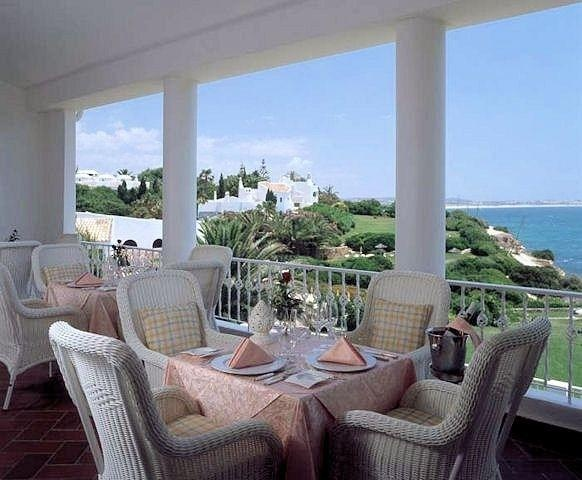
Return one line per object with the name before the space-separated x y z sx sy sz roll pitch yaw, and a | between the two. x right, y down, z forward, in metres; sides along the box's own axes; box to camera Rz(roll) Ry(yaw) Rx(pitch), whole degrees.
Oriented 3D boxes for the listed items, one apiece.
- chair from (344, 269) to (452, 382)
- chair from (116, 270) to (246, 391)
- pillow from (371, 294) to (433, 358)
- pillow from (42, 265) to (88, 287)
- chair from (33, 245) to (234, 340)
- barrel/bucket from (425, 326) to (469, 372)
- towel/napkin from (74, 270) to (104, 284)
chair | 0.732 0.512 2.796 0.642 0.704 0.589 2 -8 39
chair | -0.807 0.446 2.641 0.660 0.930 0.687 -4 -3 -39
pillow | 0.701 0.541 2.517 0.301 0.339 0.122 4 -27 35
pillow | -2.499 0.392 4.446 0.493 0.298 0.164 1 -7 -37
chair | -1.813 0.321 4.163 1.453 0.958 1.132 5 1 34
barrel/bucket | 0.736 0.512 1.956 0.188 0.174 0.189 -3 3 0
towel/napkin | -1.888 0.341 3.798 0.141 0.068 0.184 1 0 3
